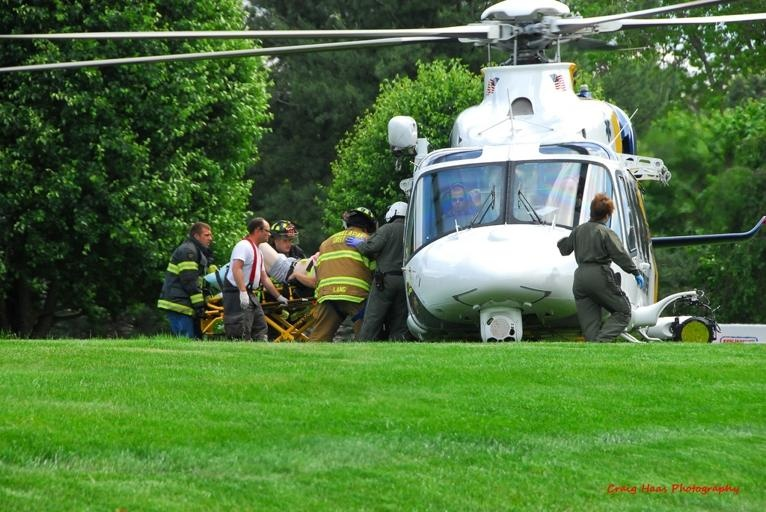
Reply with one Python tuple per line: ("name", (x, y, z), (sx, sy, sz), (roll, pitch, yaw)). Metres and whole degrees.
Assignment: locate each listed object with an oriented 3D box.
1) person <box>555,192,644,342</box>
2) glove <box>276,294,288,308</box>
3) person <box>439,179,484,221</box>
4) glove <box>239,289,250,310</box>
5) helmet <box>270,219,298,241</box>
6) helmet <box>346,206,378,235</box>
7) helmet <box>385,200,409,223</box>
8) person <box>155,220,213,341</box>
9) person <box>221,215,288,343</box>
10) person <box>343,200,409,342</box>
("person", (3.027, 0.161, 17.051), (1.044, 2.046, 0.396), (0, -3, 9))
("glove", (-1.725, 0.745, 20.100), (0.190, 0.088, 0.334), (7, -8, 7))
("person", (1.109, -0.826, 18.304), (0.528, 0.603, 0.720), (-10, 3, 7))
("glove", (-2.178, 0.669, 18.905), (0.126, 0.276, 0.290), (-2, -3, 33))
("helmet", (-1.759, -0.444, 20.749), (0.328, 0.211, 0.447), (4, -8, -41))
("helmet", (-0.409, -0.611, 19.929), (0.513, 0.455, 0.401), (3, 16, -37))
("helmet", (0.208, -0.728, 19.631), (0.274, 0.343, 0.364), (29, -7, -13))
("person", (-3.462, 0.371, 20.848), (0.927, 0.802, 2.423), (-3, -37, -14))
("person", (-2.172, 0.353, 19.226), (0.660, 1.947, 1.422), (0, -3, 13))
("person", (0.000, 0.392, 19.104), (0.625, 1.841, 0.875), (-1, -3, 28))
